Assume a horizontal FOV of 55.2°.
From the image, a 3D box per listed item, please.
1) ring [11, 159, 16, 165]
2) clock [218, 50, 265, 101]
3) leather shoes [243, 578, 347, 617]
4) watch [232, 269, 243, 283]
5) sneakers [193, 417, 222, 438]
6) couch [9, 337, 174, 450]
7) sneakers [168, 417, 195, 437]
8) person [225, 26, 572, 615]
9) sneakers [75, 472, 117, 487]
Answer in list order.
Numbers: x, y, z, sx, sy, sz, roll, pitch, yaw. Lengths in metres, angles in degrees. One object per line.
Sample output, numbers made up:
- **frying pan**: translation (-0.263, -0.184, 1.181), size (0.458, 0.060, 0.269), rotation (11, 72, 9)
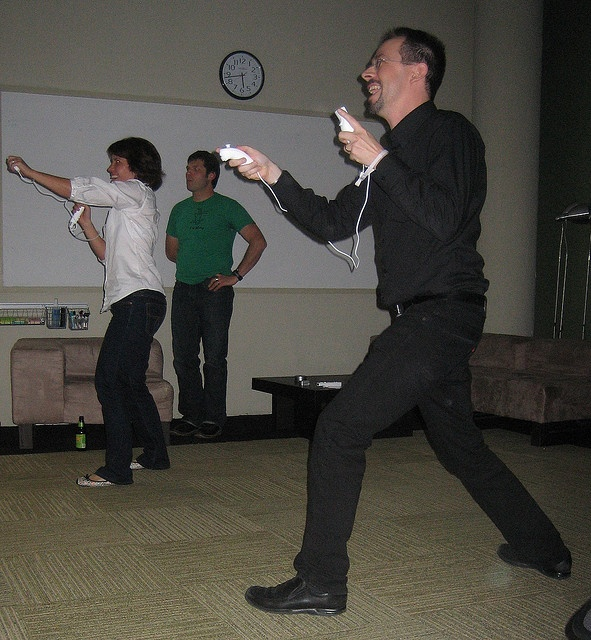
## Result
- **ring**: translation (-1.172, -0.655, 2.349), size (0.023, 0.024, 0.007), rotation (-3, -6, 44)
- **clock**: translation (-0.467, -2.044, 4.723), size (0.430, 0.441, 0.046), rotation (-3, 5, -15)
- **leather shoes**: translation (0.007, 0.684, 1.475), size (0.262, 0.113, 0.103), rotation (4, -8, 8)
- **watch**: translation (-0.420, -0.322, 4.197), size (0.082, 0.042, 0.060), rotation (44, 11, -26)
- **sneakers**: translation (-0.627, 0.803, 4.110), size (0.206, 0.089, 0.084), rotation (7, -8, -27)
- **couch**: translation (-1.412, 0.492, 3.953), size (1.045, 0.686, 0.654), rotation (2, 5, -32)
- **sneakers**: translation (-0.815, 0.789, 4.152), size (0.213, 0.087, 0.091), rotation (14, -12, -29)
- **person**: translation (0.613, -0.033, 2.208), size (1.536, 2.172, 0.914), rotation (3, -2, -6)
- **sneakers**: translation (-1.000, 0.808, 2.822), size (0.139, 0.038, 0.073), rotation (14, -6, -12)
